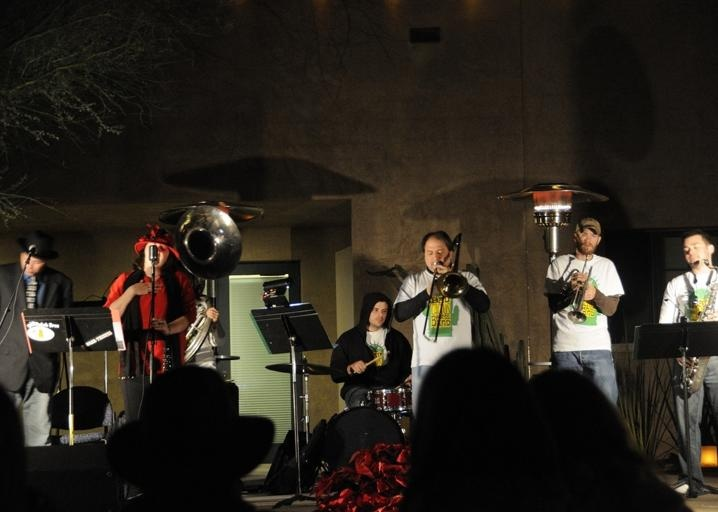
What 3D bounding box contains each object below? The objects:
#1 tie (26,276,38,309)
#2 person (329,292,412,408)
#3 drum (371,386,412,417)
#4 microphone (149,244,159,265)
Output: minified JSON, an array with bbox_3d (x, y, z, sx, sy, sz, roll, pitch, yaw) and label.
[{"bbox_3d":[-3.048,0.341,8.763,0.109,0.294,0.065,-1,-9,-5],"label":"tie"},{"bbox_3d":[0.103,0.864,9.100,0.795,1.081,0.590,2,2,-11],"label":"person"},{"bbox_3d":[0.290,1.301,8.435,0.265,0.158,0.281,-1,-8,0],"label":"drum"},{"bbox_3d":[-1.751,-0.007,8.021,0.092,0.203,0.203,1,-9,-14],"label":"microphone"}]
